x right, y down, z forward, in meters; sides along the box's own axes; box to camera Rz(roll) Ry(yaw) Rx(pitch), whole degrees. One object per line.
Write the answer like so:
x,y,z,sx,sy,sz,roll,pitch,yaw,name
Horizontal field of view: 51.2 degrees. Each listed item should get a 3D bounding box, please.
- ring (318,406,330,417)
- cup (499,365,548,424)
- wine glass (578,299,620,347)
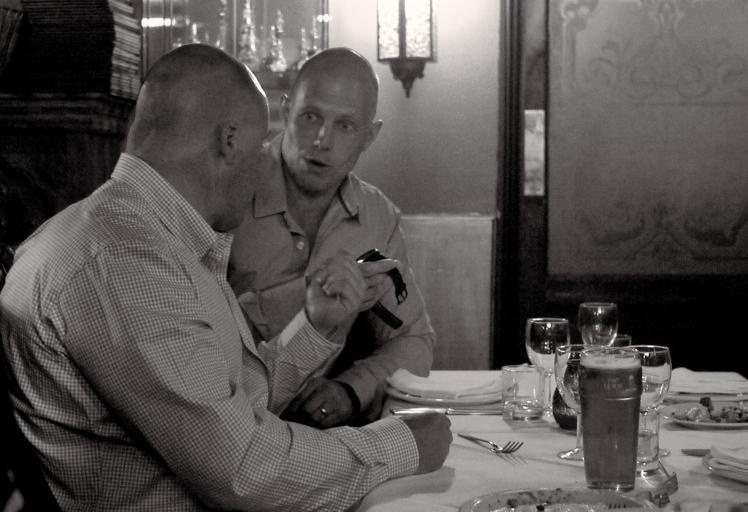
-0.128,0.397,1.991,0.019,0.021,0.021,-18,53,-42,ring
0.357,0.330,1.862,0.100,0.134,0.113,0,-3,0,cup
0.590,0.188,2.064,0.093,0.113,0.140,2,6,18,wine glass
